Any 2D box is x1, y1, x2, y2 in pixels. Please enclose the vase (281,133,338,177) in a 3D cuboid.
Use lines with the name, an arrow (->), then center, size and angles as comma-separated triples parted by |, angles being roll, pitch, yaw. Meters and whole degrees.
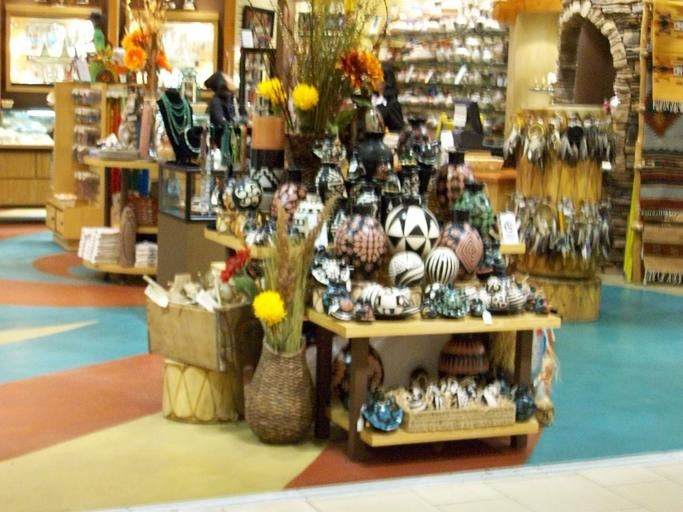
vase -> -0.182, -0.619, 3.336 | 0.249, 0.213, 0.235 | -17, 33, -10

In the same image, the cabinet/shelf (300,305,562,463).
cabinet/shelf -> 0.356, 0.507, 2.840 | 1.006, 0.664, 0.824 | -2, 10, -18

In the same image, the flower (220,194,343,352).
flower -> -0.269, 0.077, 2.951 | 0.498, 0.805, 0.360 | 2, 6, -2
